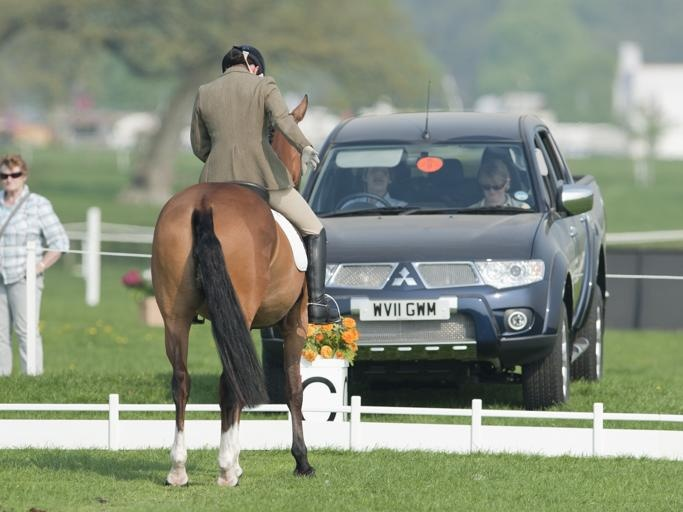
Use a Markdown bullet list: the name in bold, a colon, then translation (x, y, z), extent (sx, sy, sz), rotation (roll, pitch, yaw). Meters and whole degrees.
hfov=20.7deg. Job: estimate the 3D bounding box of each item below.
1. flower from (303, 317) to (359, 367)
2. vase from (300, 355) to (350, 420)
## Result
- **flower**: translation (-0.219, 1.490, 32.561), extent (0.834, 0.641, 0.826), rotation (-5, 5, -44)
- **vase**: translation (-0.350, 2.327, 32.672), extent (0.912, 1.483, 0.973), rotation (0, -5, 2)
